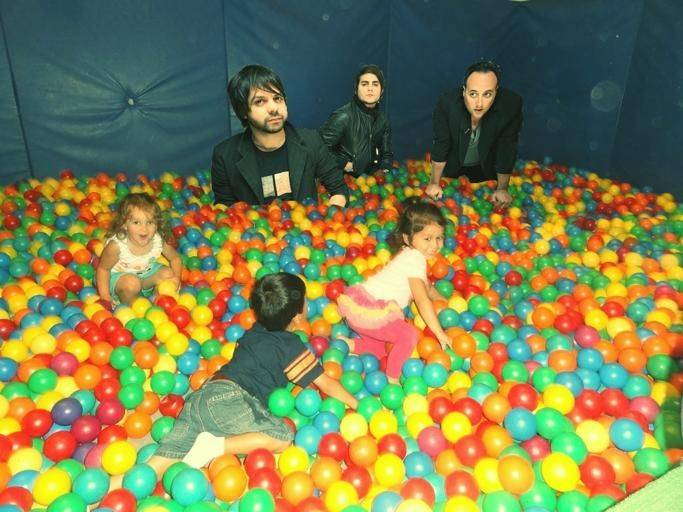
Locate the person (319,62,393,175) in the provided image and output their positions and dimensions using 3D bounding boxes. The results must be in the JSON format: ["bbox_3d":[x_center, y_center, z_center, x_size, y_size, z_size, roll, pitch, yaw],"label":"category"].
[{"bbox_3d":[0.204,-1.250,5.111,0.775,1.023,0.608,-5,33,-20],"label":"person"}]
